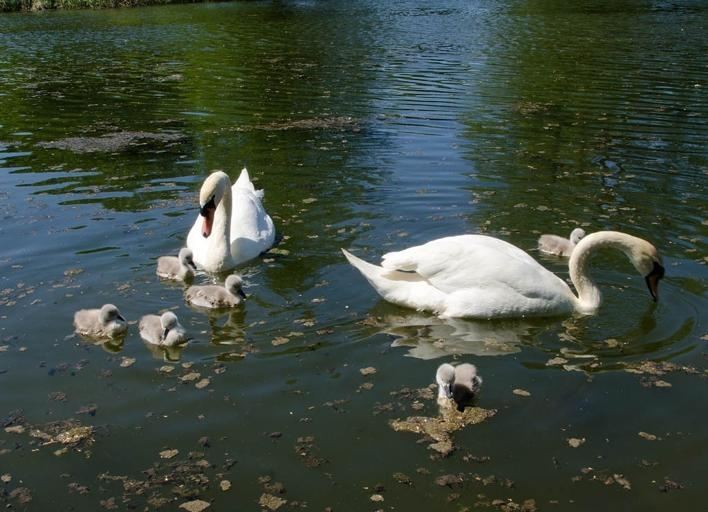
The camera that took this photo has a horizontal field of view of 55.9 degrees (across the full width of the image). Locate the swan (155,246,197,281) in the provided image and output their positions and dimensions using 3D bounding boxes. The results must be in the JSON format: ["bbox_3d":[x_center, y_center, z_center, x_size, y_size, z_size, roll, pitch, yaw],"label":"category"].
[{"bbox_3d":[-2.925,0.124,11.368,0.788,0.437,0.556,24,30,26],"label":"swan"}]

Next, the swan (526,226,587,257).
[{"bbox_3d":[3.760,-0.281,12.173,0.950,0.433,0.505,11,26,26],"label":"swan"}]

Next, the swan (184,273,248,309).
[{"bbox_3d":[-2.265,0.544,10.581,0.993,0.556,0.354,6,29,12],"label":"swan"}]

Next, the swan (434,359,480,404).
[{"bbox_3d":[1.351,1.635,8.640,0.562,0.446,0.696,7,24,14],"label":"swan"}]

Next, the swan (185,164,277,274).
[{"bbox_3d":[-2.253,-0.780,12.174,1.909,1.443,2.125,2,43,3],"label":"swan"}]
